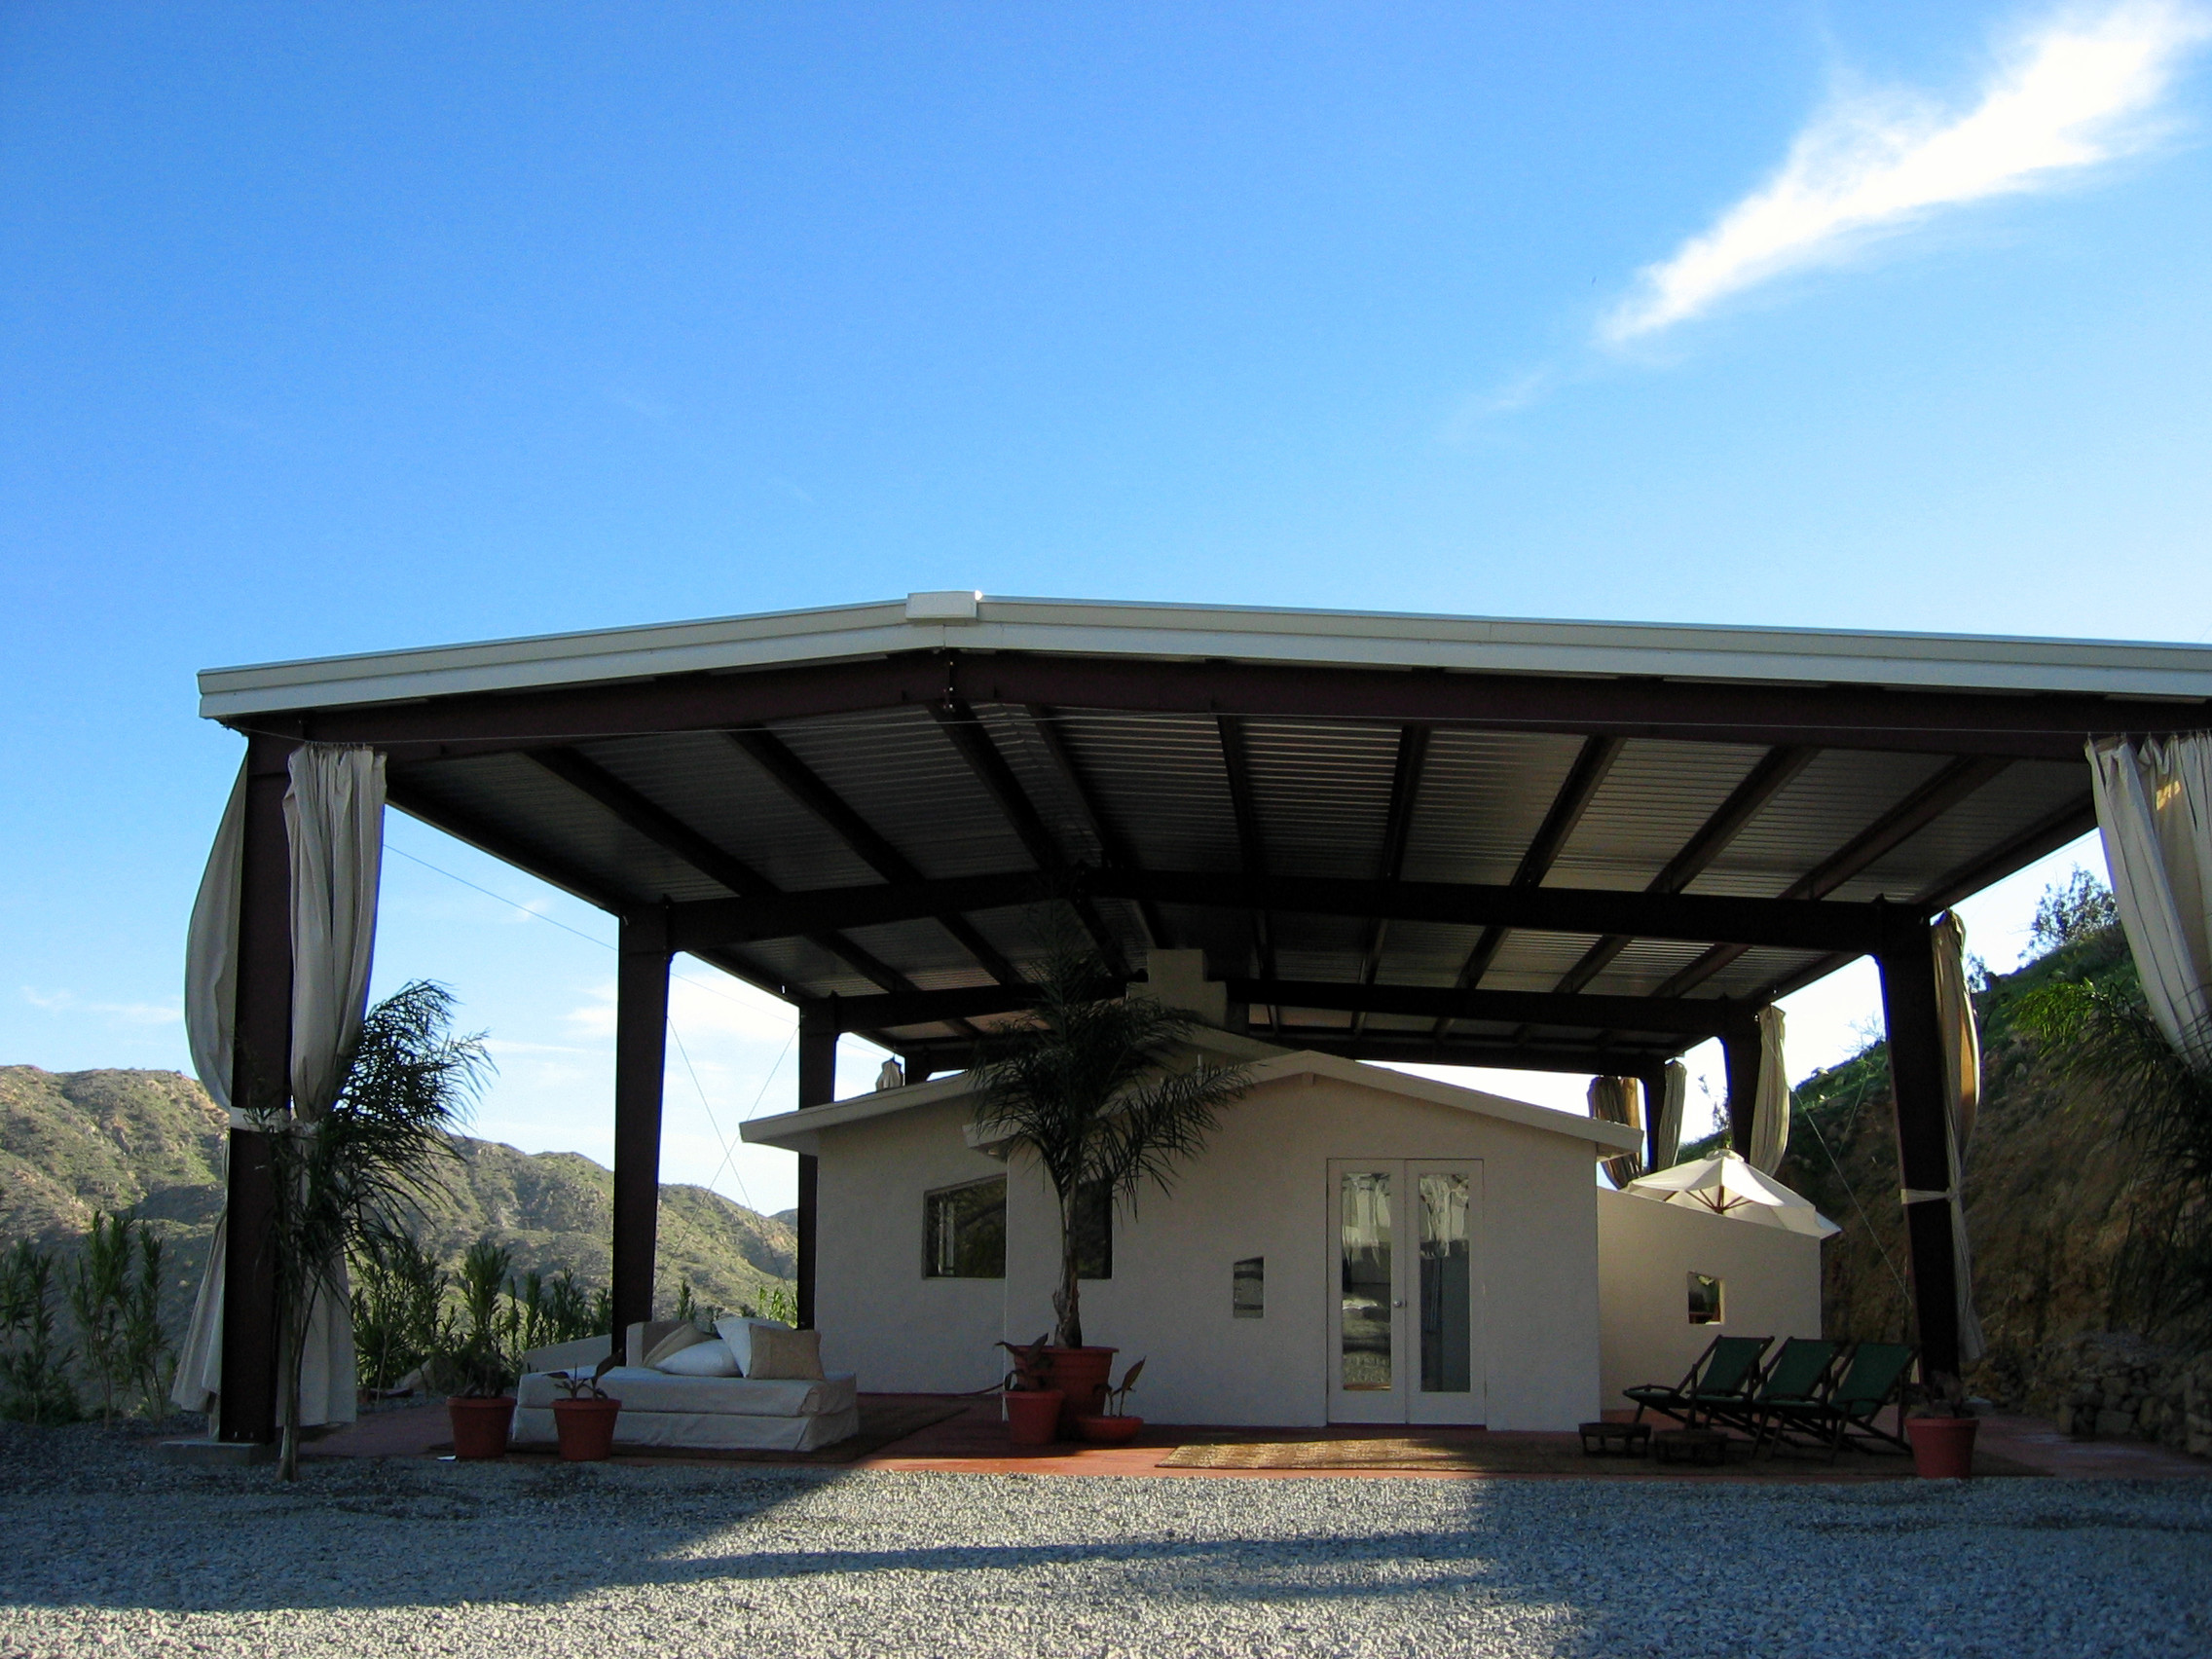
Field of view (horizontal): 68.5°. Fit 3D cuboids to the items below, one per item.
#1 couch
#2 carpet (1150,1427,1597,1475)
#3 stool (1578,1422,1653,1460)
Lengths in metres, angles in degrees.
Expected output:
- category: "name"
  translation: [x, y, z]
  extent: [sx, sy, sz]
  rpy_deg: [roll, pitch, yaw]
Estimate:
- category: "couch"
  translation: [-3.323, 4.561, 13.397]
  extent: [2.518, 1.071, 2.346]
  rpy_deg: [-1, -18, 0]
- category: "carpet"
  translation: [2.107, 4.888, 12.759]
  extent: [3.129, 0.200, 2.508]
  rpy_deg: [-3, -19, 6]
- category: "stool"
  translation: [4.036, 4.854, 12.887]
  extent: [0.411, 0.189, 0.422]
  rpy_deg: [-3, -6, 40]
